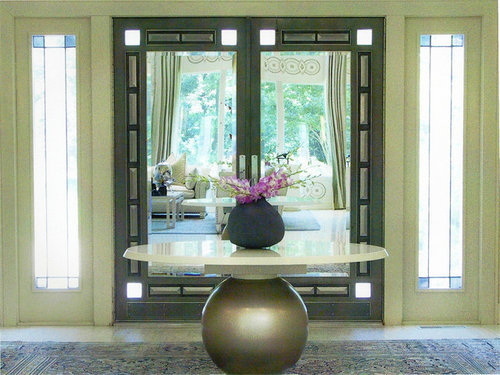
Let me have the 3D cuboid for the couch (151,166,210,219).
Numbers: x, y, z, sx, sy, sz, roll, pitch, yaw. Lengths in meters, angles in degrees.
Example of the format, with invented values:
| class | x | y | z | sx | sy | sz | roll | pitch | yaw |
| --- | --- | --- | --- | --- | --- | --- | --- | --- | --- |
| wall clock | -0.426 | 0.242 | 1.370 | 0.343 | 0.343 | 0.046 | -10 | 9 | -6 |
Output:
| class | x | y | z | sx | sy | sz | roll | pitch | yaw |
| --- | --- | --- | --- | --- | --- | --- | --- | --- | --- |
| couch | -0.707 | 0.037 | 4.658 | 0.618 | 0.438 | 0.335 | -9 | 20 | -17 |

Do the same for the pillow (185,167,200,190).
| class | x | y | z | sx | sy | sz | roll | pitch | yaw |
| --- | --- | --- | --- | --- | --- | --- | --- | --- | --- |
| pillow | -0.498 | -0.086 | 4.554 | 0.061 | 0.116 | 0.163 | 22 | -37 | -3 |

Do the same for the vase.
| class | x | y | z | sx | sy | sz | roll | pitch | yaw |
| --- | --- | --- | --- | --- | --- | --- | --- | --- | --- |
| vase | 0.032 | 0.209 | 3.515 | 0.431 | 0.356 | 0.408 | 0 | 7 | -2 |

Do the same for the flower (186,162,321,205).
| class | x | y | z | sx | sy | sz | roll | pitch | yaw |
| --- | --- | --- | --- | --- | --- | --- | --- | --- | --- |
| flower | 0.070 | -0.009 | 3.592 | 0.634 | 0.141 | 0.604 | -3 | -17 | 12 |
